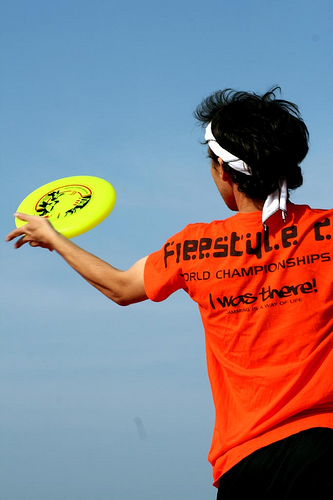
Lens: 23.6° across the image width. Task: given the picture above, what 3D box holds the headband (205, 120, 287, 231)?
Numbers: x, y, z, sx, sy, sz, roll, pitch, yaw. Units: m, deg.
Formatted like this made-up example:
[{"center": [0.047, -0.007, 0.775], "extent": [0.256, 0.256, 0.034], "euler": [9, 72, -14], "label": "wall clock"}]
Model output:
[{"center": [0.271, -0.265, 2.779], "extent": [0.131, 0.362, 0.321], "euler": [-5, -2, -43], "label": "headband"}]

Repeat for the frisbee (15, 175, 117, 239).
[{"center": [-0.451, -0.199, 3.578], "extent": [0.396, 0.255, 0.492], "euler": [-4, -2, -24], "label": "frisbee"}]

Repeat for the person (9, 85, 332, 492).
[{"center": [0.172, 0.143, 2.808], "extent": [0.844, 1.253, 0.285], "euler": [-7, -2, 29], "label": "person"}]
